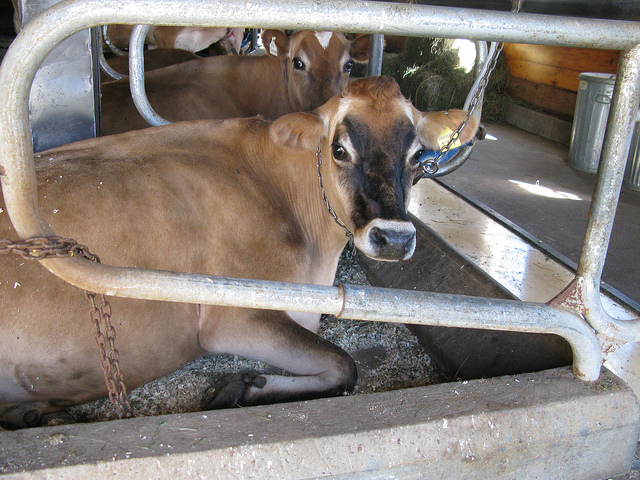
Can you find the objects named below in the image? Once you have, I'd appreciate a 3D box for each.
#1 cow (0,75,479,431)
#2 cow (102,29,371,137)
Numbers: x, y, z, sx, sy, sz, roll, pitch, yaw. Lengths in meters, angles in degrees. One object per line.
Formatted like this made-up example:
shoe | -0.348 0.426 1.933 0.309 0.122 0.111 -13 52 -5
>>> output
cow | -0.476 -0.028 3.097 1.961 1.183 1.186 -12 32 -23
cow | -0.720 -0.884 5.128 1.671 0.938 0.647 0 3 18
